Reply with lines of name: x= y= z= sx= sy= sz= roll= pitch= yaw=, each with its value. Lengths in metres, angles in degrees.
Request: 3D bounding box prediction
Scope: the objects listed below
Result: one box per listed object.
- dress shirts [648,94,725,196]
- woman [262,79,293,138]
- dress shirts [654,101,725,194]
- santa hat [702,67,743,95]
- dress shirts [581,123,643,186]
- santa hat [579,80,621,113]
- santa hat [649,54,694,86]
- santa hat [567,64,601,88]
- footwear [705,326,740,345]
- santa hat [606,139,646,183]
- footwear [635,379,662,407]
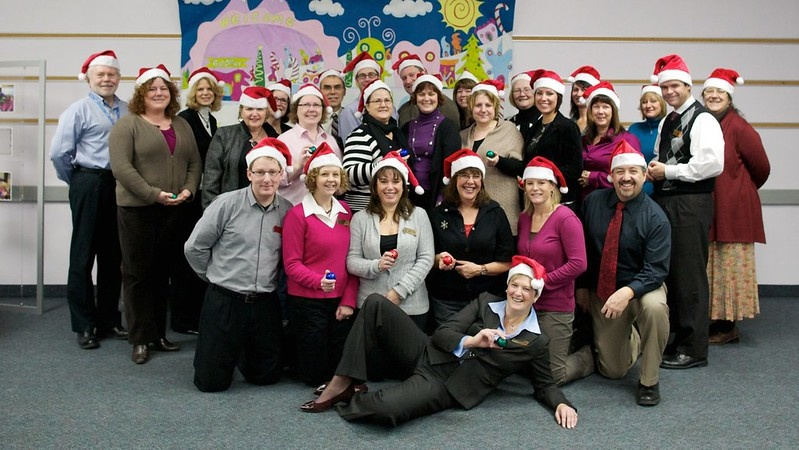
dress shirts: x=2.895 y=-0.783 z=6.246 sx=0.690 sy=1.014 sz=1.087 roll=-1 pitch=2 yaw=-10
woman: x=-1.280 y=-1.330 z=6.707 sx=0.452 sy=0.562 sz=0.185 roll=4 pitch=-14 yaw=-11
dress shirts: x=2.892 y=-0.746 z=6.209 sx=0.623 sy=0.919 sz=0.994 roll=-2 pitch=1 yaw=-10
santa hat: x=3.427 y=-1.540 z=6.726 sx=0.447 sy=0.319 sz=0.332 roll=8 pitch=10 yaw=30
dress shirts: x=2.120 y=-0.689 z=6.260 sx=0.506 sy=0.614 sz=0.214 roll=-21 pitch=-34 yaw=32
santa hat: x=2.122 y=-1.360 z=6.561 sx=0.409 sy=0.294 sz=0.279 roll=-10 pitch=21 yaw=-1
santa hat: x=2.783 y=-1.650 z=6.476 sx=0.503 sy=0.389 sz=0.367 roll=3 pitch=5 yaw=9
santa hat: x=2.050 y=-1.684 z=7.044 sx=0.385 sy=0.245 sz=0.281 roll=1 pitch=4 yaw=37
footwear: x=3.460 y=1.193 z=6.597 sx=0.366 sy=0.155 sz=0.133 roll=1 pitch=2 yaw=-3
santa hat: x=2.149 y=-0.652 z=5.895 sx=0.337 sy=0.304 sz=0.269 roll=-4 pitch=6 yaw=22
footwear: x=2.270 y=1.538 z=5.656 sx=0.211 sy=0.186 sz=0.128 roll=1 pitch=7 yaw=17
